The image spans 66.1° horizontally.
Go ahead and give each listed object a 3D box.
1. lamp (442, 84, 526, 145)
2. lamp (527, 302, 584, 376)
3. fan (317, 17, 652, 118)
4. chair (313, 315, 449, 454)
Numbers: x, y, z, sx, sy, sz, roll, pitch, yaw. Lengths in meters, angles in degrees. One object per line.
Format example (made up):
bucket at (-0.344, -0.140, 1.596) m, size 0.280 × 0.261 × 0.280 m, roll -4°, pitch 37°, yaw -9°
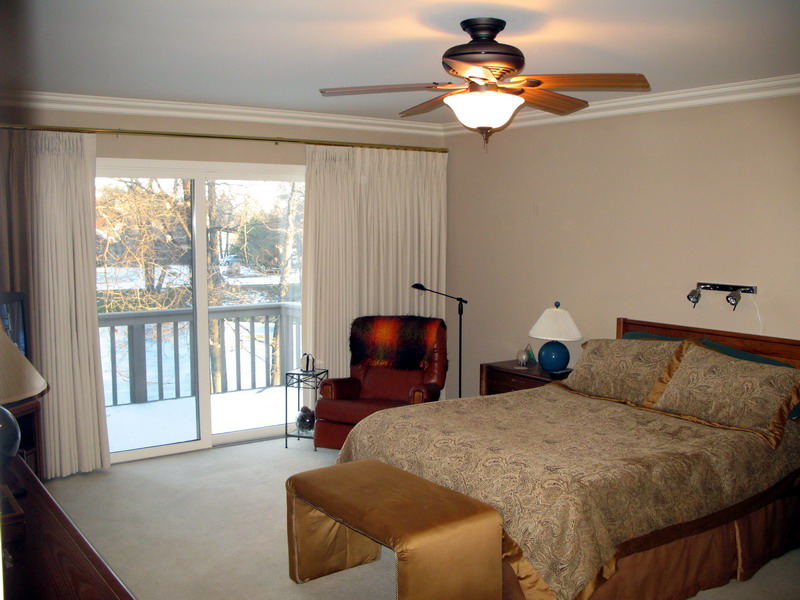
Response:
lamp at (0.455, -0.921, 3.281) m, size 0.416 × 0.184 × 0.429 m, roll -8°, pitch -17°, yaw 26°
lamp at (1.358, 0.352, 5.392) m, size 0.468 × 0.553 × 0.456 m, roll 1°, pitch 6°, yaw -14°
fan at (0.517, -1.217, 3.276) m, size 1.419 × 0.618 × 0.760 m, roll 0°, pitch 9°, yaw -2°
chair at (-0.179, 0.813, 5.775) m, size 1.157 × 1.244 × 1.229 m, roll -1°, pitch 1°, yaw -45°
